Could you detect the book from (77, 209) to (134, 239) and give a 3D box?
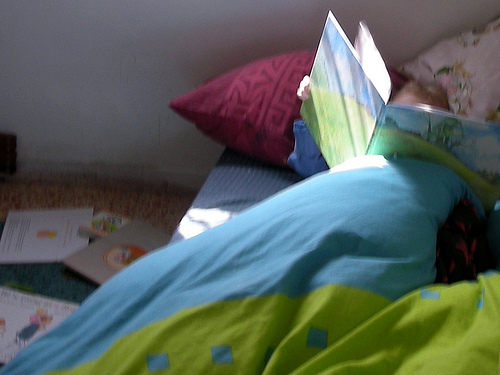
[{"bbox_3d":[-0.549,0.142,1.564,0.110,0.029,0.111,31,43,27],"label":"book"}]

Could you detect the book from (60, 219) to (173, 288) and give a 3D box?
[{"bbox_3d":[-0.412,0.246,1.322,0.227,0.030,0.384,9,19,-20],"label":"book"}]

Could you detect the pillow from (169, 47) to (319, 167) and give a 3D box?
[{"bbox_3d":[0.068,-0.287,1.457,0.642,0.308,0.700,2,14,28],"label":"pillow"}]

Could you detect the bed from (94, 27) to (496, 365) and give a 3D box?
[{"bbox_3d":[0.192,-0.005,0.930,0.655,0.864,0.221,3,-37,6],"label":"bed"}]
